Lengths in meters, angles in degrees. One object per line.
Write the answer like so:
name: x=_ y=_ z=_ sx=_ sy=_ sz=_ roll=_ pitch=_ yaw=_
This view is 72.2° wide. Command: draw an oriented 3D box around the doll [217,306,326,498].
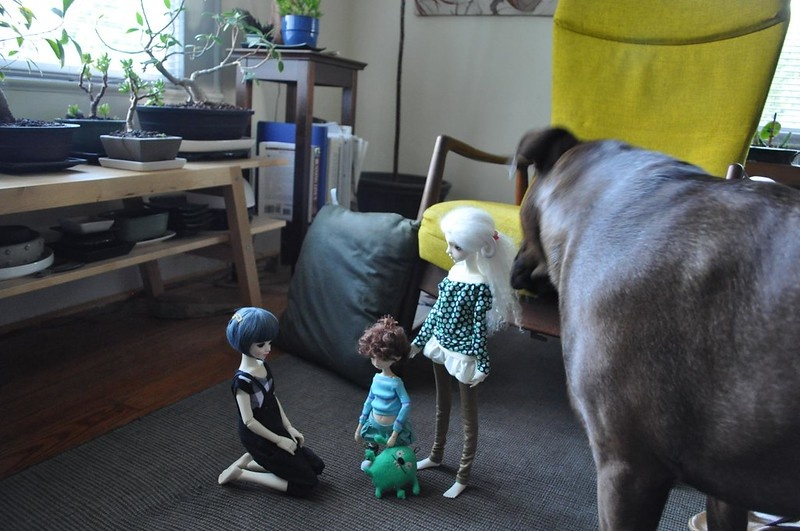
doll: x=-0.315 y=0.326 z=1.361 sx=0.255 sy=0.433 sz=0.188 roll=5 pitch=23 yaw=6

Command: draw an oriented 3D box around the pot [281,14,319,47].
pot: x=-0.419 y=-0.986 z=2.289 sx=0.146 sy=0.113 sz=0.161 roll=0 pitch=6 yaw=-4

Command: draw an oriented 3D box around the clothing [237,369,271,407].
clothing: x=-0.358 y=0.295 z=1.323 sx=0.044 sy=0.075 sz=0.084 roll=4 pitch=11 yaw=32

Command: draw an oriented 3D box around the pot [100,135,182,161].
pot: x=-0.815 y=-0.365 z=1.717 sx=0.128 sy=0.054 sz=0.153 roll=3 pitch=4 yaw=40

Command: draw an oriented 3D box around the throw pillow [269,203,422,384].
throw pillow: x=-0.113 y=0.117 z=1.928 sx=0.545 sy=0.550 sz=0.211 roll=19 pitch=6 yaw=38

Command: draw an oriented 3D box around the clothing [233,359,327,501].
clothing: x=-0.300 y=0.371 z=1.387 sx=0.232 sy=0.392 sz=0.179 roll=4 pitch=6 yaw=14

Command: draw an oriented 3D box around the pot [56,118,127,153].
pot: x=-1.041 y=-0.443 z=1.843 sx=0.129 sy=0.088 sz=0.153 roll=-3 pitch=5 yaw=-34

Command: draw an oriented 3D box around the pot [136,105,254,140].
pot: x=-0.734 y=-0.518 z=1.978 sx=0.251 sy=0.080 sz=0.226 roll=3 pitch=8 yaw=-17
